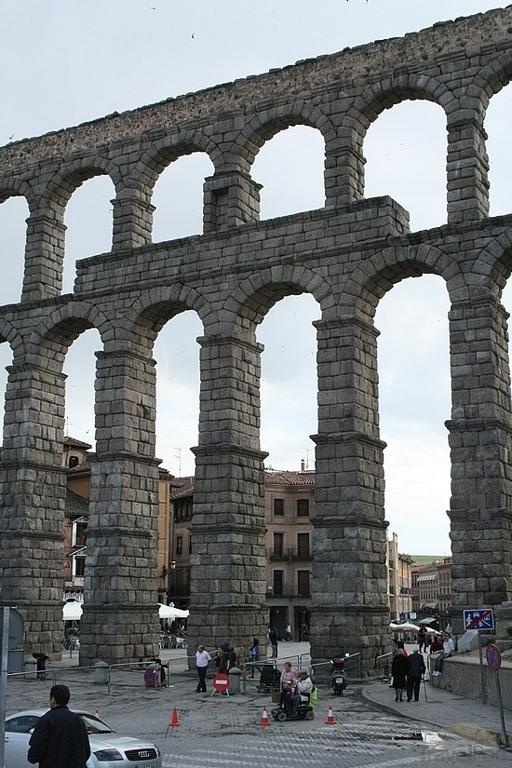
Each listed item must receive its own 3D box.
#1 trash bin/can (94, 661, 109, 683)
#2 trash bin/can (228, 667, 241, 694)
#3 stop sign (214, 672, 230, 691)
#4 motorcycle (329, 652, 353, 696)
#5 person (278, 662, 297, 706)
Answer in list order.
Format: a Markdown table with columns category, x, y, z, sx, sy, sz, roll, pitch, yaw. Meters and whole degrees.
| category | x | y | z | sx | sy | sz | roll | pitch | yaw |
| --- | --- | --- | --- | --- | --- | --- | --- | --- | --- |
| trash bin/can | -3.552 | 6.702 | 24.652 | 0.325 | 0.509 | 0.694 | 3 | -13 | -8 |
| trash bin/can | -0.407 | 6.190 | 22.135 | 0.242 | 0.524 | 0.763 | -1 | -13 | 8 |
| stop sign | -0.676 | 6.077 | 21.619 | 0.295 | 0.371 | 0.594 | 1 | -13 | -2 |
| motorcycle | 1.831 | 6.051 | 21.882 | 0.357 | 0.582 | 0.898 | -2 | -28 | 5 |
| person | 0.562 | 5.093 | 17.975 | 0.278 | 0.711 | 0.478 | 0 | -13 | 1 |
